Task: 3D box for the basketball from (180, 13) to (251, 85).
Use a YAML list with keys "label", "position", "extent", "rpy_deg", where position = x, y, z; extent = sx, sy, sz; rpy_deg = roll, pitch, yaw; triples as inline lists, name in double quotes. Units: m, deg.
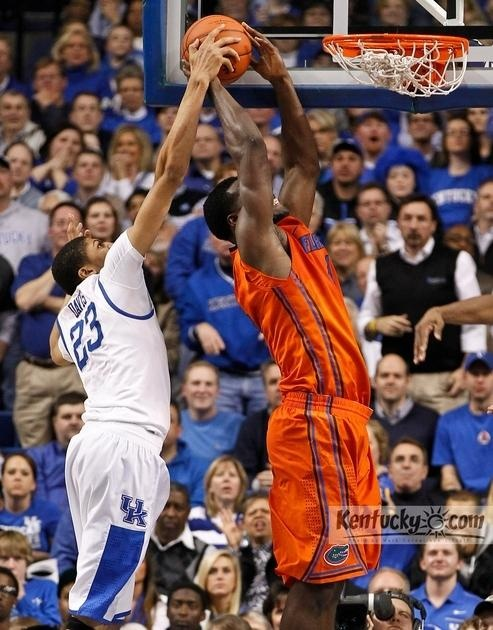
- label: "basketball"
  position: [-0.098, -1.158, 5.018]
  extent: [0.296, 0.331, 0.288]
  rpy_deg: [8, -3, -18]
